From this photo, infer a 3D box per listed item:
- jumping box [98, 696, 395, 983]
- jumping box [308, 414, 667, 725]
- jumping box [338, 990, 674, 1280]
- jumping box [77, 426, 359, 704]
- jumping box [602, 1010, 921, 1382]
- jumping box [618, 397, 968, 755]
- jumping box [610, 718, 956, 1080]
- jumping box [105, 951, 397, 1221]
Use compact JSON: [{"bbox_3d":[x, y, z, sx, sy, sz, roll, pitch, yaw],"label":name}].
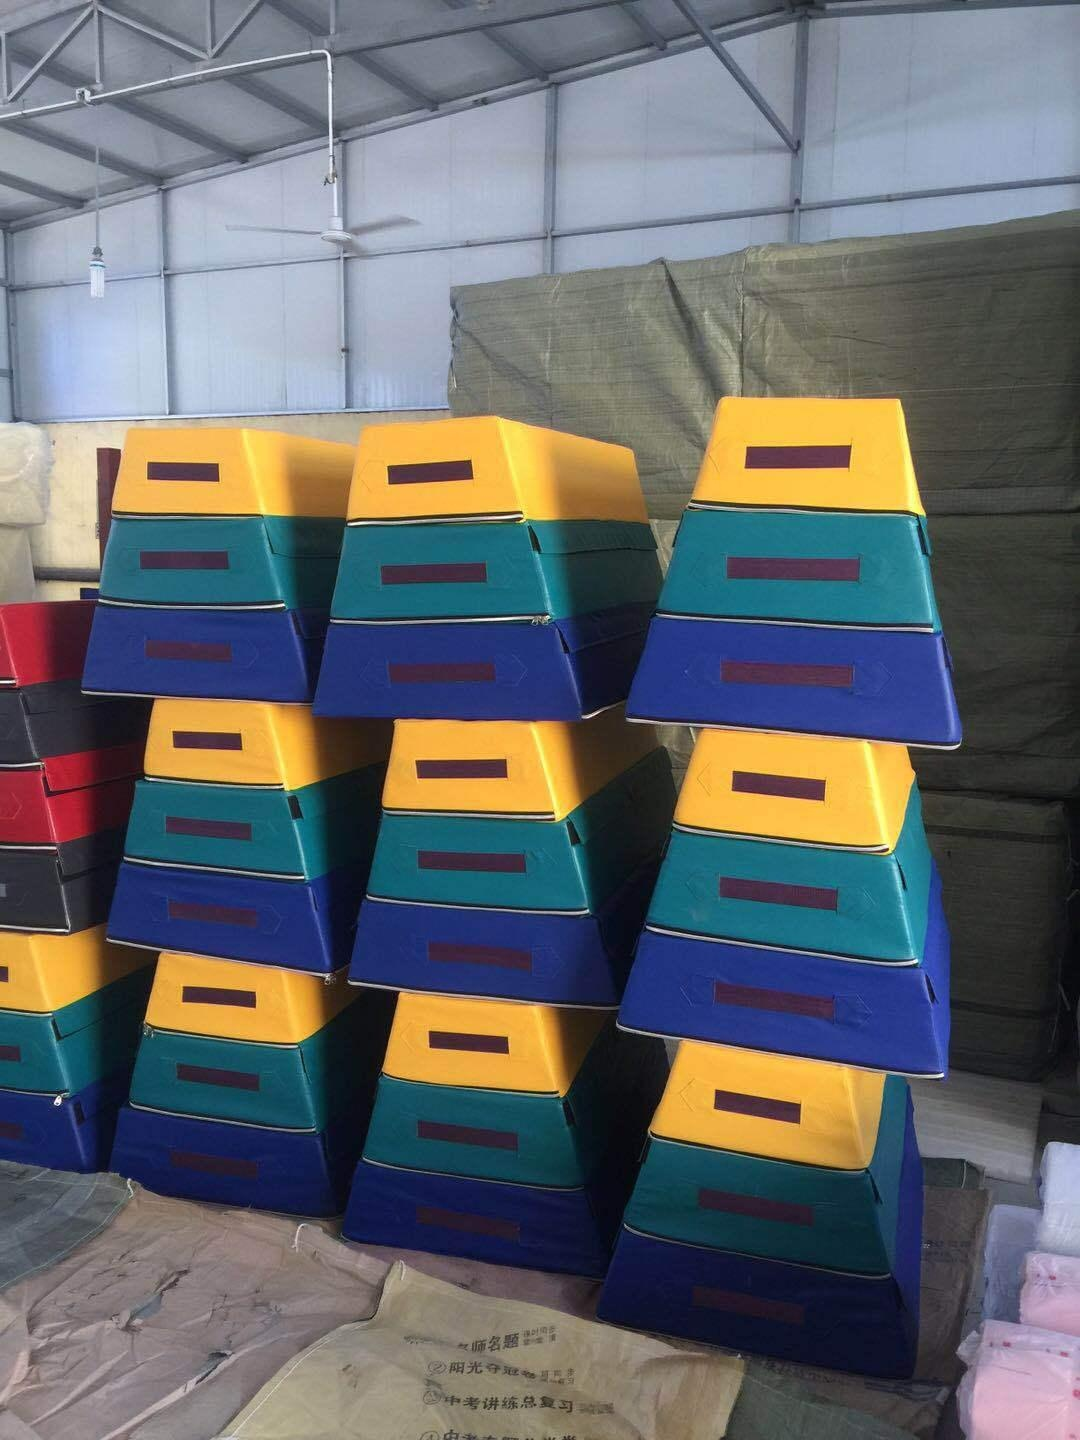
[{"bbox_3d":[-0.480,0.161,2.228,0.495,0.371,0.577,4,12,7],"label":"jumping box"},{"bbox_3d":[0.122,-0.295,2.269,0.572,0.467,1.032,5,13,37],"label":"jumping box"},{"bbox_3d":[-0.050,0.703,2.159,0.490,0.345,0.567,3,5,14],"label":"jumping box"},{"bbox_3d":[-0.420,-0.340,2.310,0.507,0.453,0.787,5,16,28],"label":"jumping box"},{"bbox_3d":[0.391,0.714,1.901,0.533,0.401,0.462,0,8,18],"label":"jumping box"},{"bbox_3d":[0.373,-0.211,1.781,0.489,0.416,0.492,2,7,14],"label":"jumping box"},{"bbox_3d":[0.369,0.253,1.898,0.522,0.440,0.538,2,11,15],"label":"jumping box"},{"bbox_3d":[-0.496,0.649,2.278,0.479,0.357,0.547,5,2,1],"label":"jumping box"}]
